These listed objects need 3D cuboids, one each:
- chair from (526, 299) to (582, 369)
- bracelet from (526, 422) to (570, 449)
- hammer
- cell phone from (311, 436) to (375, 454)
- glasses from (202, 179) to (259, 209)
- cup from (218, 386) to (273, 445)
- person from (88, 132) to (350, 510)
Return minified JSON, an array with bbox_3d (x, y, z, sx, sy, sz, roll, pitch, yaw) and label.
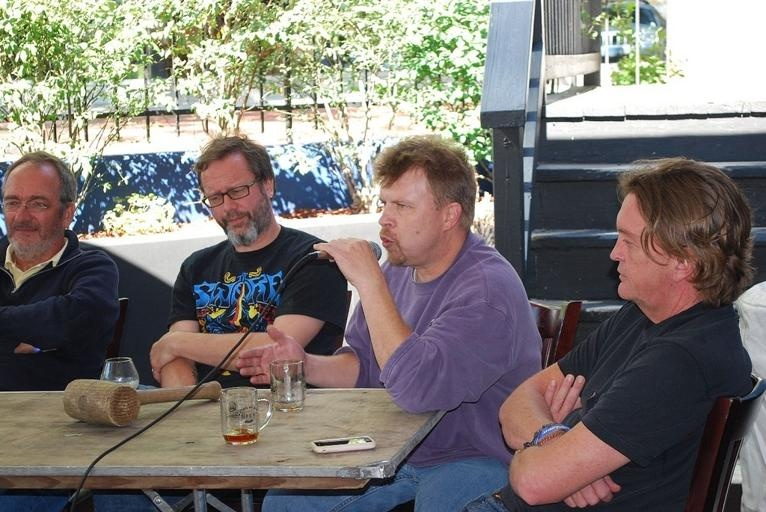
[{"bbox_3d":[0.838,0.362,3.683,0.315,0.398,0.292,-1,3,-15],"label":"chair"},{"bbox_3d":[0.626,0.678,2.916,0.127,0.043,0.097,-18,4,9],"label":"bracelet"},{"bbox_3d":[-0.942,0.583,3.161,0.333,0.168,0.657,-5,-6,41],"label":"hammer"},{"bbox_3d":[-0.138,0.644,2.630,0.152,0.023,0.077,-1,-1,-6],"label":"cell phone"},{"bbox_3d":[-0.842,-0.365,4.239,0.204,0.053,0.199,-20,1,17],"label":"glasses"},{"bbox_3d":[-0.496,0.576,2.819,0.145,0.193,0.238,-5,-7,43],"label":"cup"},{"bbox_3d":[-0.797,0.090,4.361,1.192,2.496,0.943,-2,3,-11],"label":"person"}]
